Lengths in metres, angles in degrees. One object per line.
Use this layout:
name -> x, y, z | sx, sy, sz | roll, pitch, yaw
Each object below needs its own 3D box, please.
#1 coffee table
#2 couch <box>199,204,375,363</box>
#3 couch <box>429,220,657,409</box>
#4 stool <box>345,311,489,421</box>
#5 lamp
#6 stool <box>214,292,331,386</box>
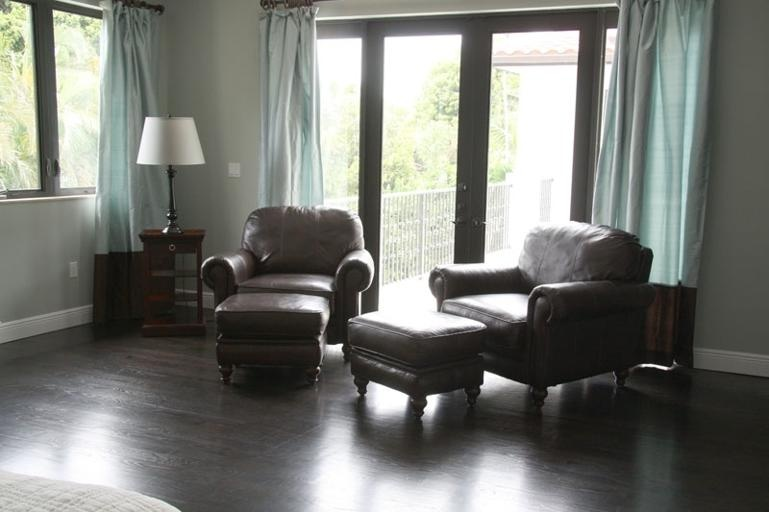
coffee table -> -2.023, 0.247, 5.829 | 0.744, 0.941, 0.750 | 2, 5, 9
couch -> -0.794, 0.169, 5.291 | 1.380, 1.119, 1.024 | 2, 9, -2
couch -> 1.189, 0.358, 4.630 | 1.105, 1.142, 1.287 | -10, 15, -41
stool -> 0.231, 0.757, 4.461 | 0.748, 0.584, 0.903 | -3, 5, -40
lamp -> -2.022, -0.786, 5.726 | 0.568, 1.059, 0.656 | -4, 12, -19
stool -> -0.806, 0.699, 4.814 | 0.938, 0.548, 0.763 | 0, -4, -1
